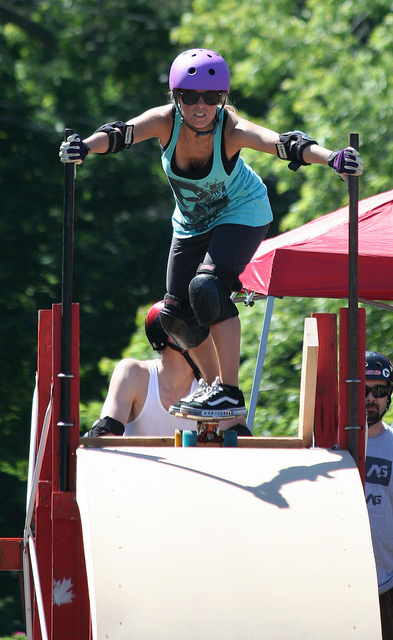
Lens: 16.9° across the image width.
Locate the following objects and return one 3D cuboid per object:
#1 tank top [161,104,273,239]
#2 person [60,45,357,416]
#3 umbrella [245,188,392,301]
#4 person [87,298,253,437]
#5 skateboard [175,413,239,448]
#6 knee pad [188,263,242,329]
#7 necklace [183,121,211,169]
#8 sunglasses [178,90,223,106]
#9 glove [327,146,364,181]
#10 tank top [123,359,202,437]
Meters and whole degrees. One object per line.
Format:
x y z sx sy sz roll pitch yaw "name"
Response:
0.049 -0.693 5.749 0.462 0.647 0.362 -1 27 14 "tank top"
-0.054 -0.375 5.426 1.059 1.547 0.971 6 -9 -26 "person"
0.738 -0.343 7.120 0.639 0.344 0.658 -4 2 -9 "umbrella"
-0.132 0.286 5.956 0.833 0.810 0.470 0 26 -8 "person"
0.040 0.447 5.237 0.250 0.133 0.343 0 9 0 "skateboard"
0.086 -0.105 5.508 0.259 0.261 0.181 -3 -2 -44 "knee pad"
-0.006 -0.733 5.544 0.103 0.199 0.077 -2 8 -8 "necklace"
0.017 -0.910 5.414 0.183 0.055 0.061 -1 9 -1 "sunglasses"
0.563 -0.600 5.021 0.134 0.104 0.081 2 9 14 "glove"
-0.165 0.373 5.967 0.297 0.300 0.323 4 10 29 "tank top"
